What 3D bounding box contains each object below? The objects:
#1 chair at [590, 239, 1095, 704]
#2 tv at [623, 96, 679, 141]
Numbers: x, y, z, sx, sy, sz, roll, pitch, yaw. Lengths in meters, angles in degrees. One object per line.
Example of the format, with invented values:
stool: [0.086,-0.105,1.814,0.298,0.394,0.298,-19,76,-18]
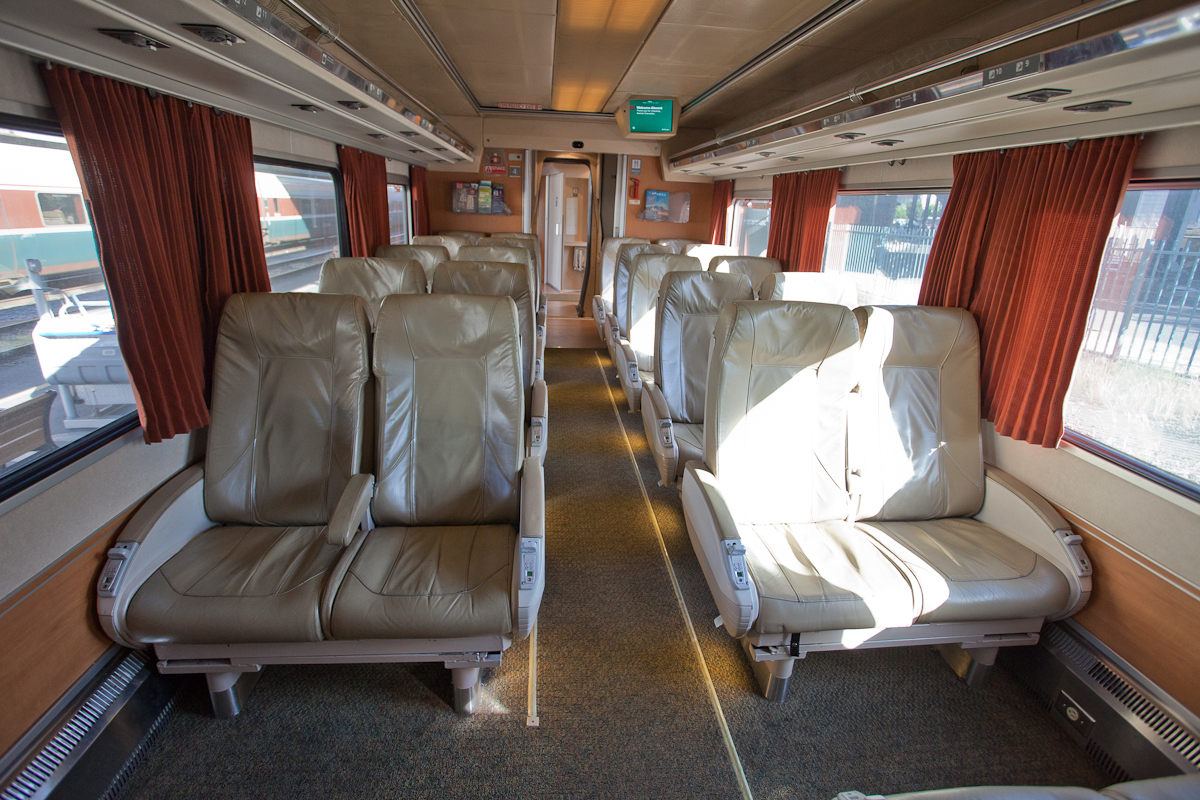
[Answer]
chair: [1.523,0.218,5.159,1.846,1.572,2.895,-2,25,-4]
tv: [0.608,-3.383,8.605,0.752,0.480,0.387,0,25,-3]
